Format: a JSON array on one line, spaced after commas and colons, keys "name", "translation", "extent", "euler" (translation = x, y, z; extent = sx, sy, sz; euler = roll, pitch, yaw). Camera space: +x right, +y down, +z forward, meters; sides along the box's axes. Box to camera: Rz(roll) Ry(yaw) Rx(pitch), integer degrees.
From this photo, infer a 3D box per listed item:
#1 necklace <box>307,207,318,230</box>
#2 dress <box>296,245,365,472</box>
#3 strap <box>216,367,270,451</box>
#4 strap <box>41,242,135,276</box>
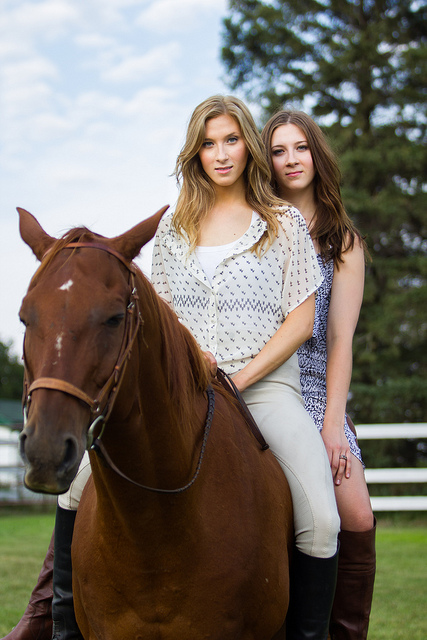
[{"name": "necklace", "translation": [0.508, -0.527, 3.967], "extent": [0.028, 0.098, 0.099], "euler": [-2, 2, 32]}, {"name": "dress", "translation": [0.476, 0.194, 3.688], "extent": [0.304, 1.095, 0.356], "euler": [-7, -14, 8]}, {"name": "strap", "translation": [0.112, 0.350, 2.981], "extent": [0.056, 0.383, 0.068], "euler": [-39, -5, -29]}, {"name": "strap", "translation": [-0.358, -0.178, 2.277], "extent": [0.247, 0.105, 0.090], "euler": [-3, 2, -7]}]
